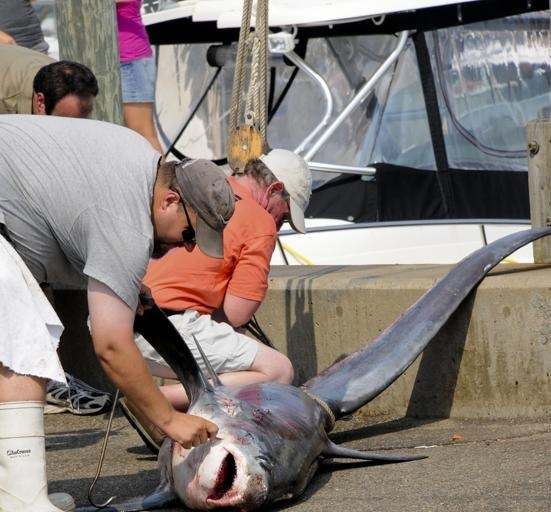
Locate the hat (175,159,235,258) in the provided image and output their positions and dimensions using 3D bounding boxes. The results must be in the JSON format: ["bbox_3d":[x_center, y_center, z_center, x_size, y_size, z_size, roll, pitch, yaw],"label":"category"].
[{"bbox_3d":[-0.263,-0.199,4.024,0.185,0.378,0.230,-21,-4,24],"label":"hat"}]

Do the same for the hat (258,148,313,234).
[{"bbox_3d":[0.092,-0.351,5.388,0.232,0.412,0.269,-33,4,3],"label":"hat"}]
